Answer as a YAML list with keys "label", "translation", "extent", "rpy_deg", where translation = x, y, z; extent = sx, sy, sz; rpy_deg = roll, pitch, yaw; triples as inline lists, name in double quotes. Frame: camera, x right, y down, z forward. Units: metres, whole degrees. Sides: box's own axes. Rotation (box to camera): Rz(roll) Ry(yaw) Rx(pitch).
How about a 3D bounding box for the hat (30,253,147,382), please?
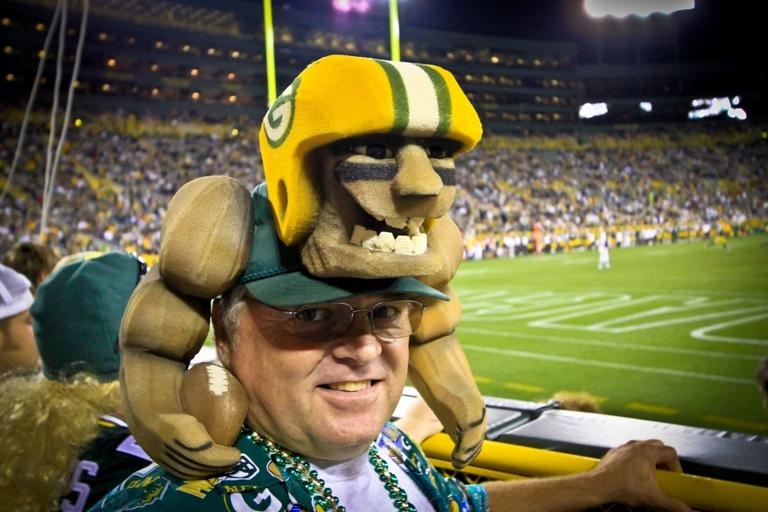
- label: "hat"
  translation: [-1.405, 0.289, 4.014]
  extent: [0.479, 0.529, 0.679]
  rpy_deg: [1, -11, -6]

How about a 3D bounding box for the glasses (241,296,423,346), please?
- label: "glasses"
  translation: [-0.184, 0.265, 3.338]
  extent: [0.698, 0.172, 0.096]
  rpy_deg: [0, 5, -10]
